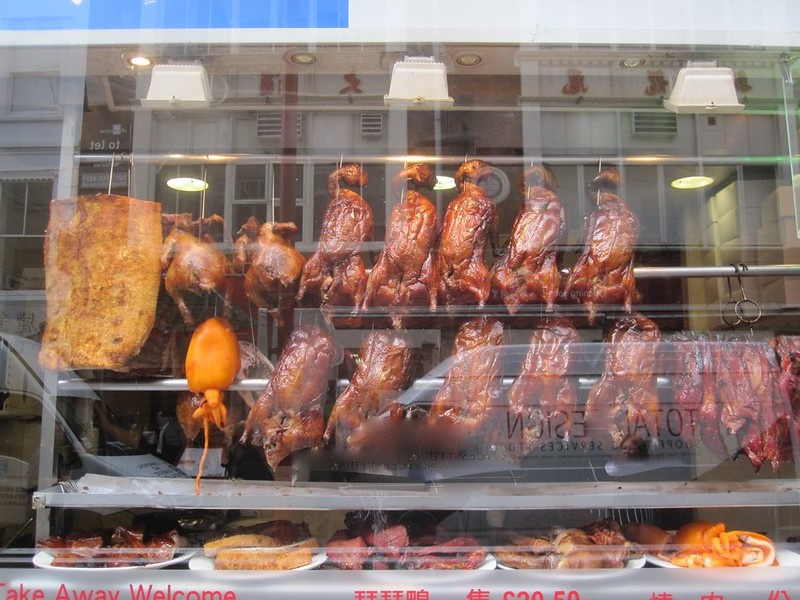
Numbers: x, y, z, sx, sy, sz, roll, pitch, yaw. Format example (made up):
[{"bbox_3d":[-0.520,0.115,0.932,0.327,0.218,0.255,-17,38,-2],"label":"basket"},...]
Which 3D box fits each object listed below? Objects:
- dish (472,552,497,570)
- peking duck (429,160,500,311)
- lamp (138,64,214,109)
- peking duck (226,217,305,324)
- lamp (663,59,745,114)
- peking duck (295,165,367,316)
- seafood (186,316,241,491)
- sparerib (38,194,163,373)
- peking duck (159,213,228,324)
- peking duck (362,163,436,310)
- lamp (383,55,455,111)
[{"bbox_3d":[0.393,1.180,3.861,0.079,0.044,0.120,4,5,29],"label":"dish"},{"bbox_3d":[0.339,-0.342,4.259,0.251,0.765,0.342,0,-12,23],"label":"peking duck"},{"bbox_3d":[-1.072,-1.030,4.140,0.239,0.149,0.232,1,14,-2],"label":"lamp"},{"bbox_3d":[-0.637,-0.167,4.139,0.312,0.430,0.208,-8,4,17],"label":"peking duck"},{"bbox_3d":[1.482,-1.029,4.148,0.281,0.165,0.269,-1,15,3],"label":"lamp"},{"bbox_3d":[-0.282,-0.273,4.269,0.294,0.740,0.258,2,-13,20],"label":"peking duck"},{"bbox_3d":[-0.900,0.367,4.131,0.253,0.546,0.150,0,4,-23],"label":"seafood"},{"bbox_3d":[-1.451,-0.090,4.141,0.637,0.805,0.212,-1,1,-6],"label":"sparerib"},{"bbox_3d":[-0.997,-0.186,4.299,0.309,0.541,0.338,-8,-23,-12],"label":"peking duck"},{"bbox_3d":[0.033,-0.277,4.235,0.322,0.731,0.304,2,-4,39],"label":"peking duck"},{"bbox_3d":[0.120,-1.062,4.146,0.367,0.229,0.202,9,28,29],"label":"lamp"}]
